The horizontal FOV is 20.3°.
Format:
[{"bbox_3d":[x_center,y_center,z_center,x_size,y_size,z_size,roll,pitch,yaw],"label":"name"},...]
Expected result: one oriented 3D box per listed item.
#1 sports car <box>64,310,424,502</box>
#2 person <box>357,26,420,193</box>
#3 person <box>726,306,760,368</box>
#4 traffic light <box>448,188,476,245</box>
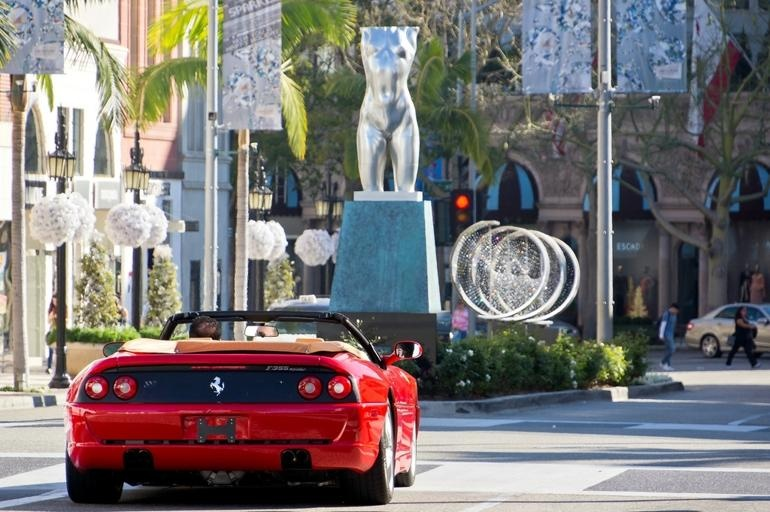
[{"bbox_3d":[-2.757,2.941,41.426,6.481,3.678,1.937,0,-3,-13],"label":"sports car"},{"bbox_3d":[0.095,-3.380,52.158,1.464,3.996,0.913,0,-3,-1],"label":"person"},{"bbox_3d":[10.987,2.515,65.198,0.878,2.129,0.846,2,-3,-6],"label":"person"},{"bbox_3d":[2.180,-1.021,59.723,0.641,1.313,0.785,-1,-3,3],"label":"traffic light"}]
